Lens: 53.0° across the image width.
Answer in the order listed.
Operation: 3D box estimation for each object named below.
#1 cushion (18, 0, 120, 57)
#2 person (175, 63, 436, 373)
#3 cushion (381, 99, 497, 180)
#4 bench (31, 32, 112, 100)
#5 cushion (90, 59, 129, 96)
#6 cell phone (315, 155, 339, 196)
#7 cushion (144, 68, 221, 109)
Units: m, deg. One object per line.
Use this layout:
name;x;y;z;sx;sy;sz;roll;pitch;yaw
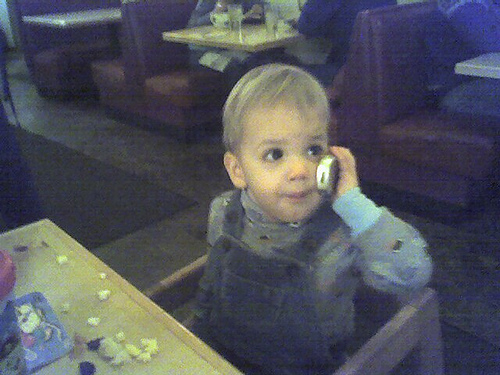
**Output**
cushion;-1.908;-1.612;4.976;1.699;0.482;0.247;4;24;43
person;0.182;0.155;1.625;0.710;1.013;0.405;16;30;24
cushion;1.088;-0.207;2.918;0.455;0.458;0.110;16;-8;4
bench;-1.747;-1.191;4.875;0.866;0.515;0.826;-15;19;-12
cushion;-1.241;-0.980;4.429;0.434;0.394;0.116;15;31;34
cell phone;0.243;-0.035;1.553;0.092;0.114;0.044;-6;11;-38
cushion;-0.515;-0.786;3.966;0.403;0.096;0.423;25;37;36
